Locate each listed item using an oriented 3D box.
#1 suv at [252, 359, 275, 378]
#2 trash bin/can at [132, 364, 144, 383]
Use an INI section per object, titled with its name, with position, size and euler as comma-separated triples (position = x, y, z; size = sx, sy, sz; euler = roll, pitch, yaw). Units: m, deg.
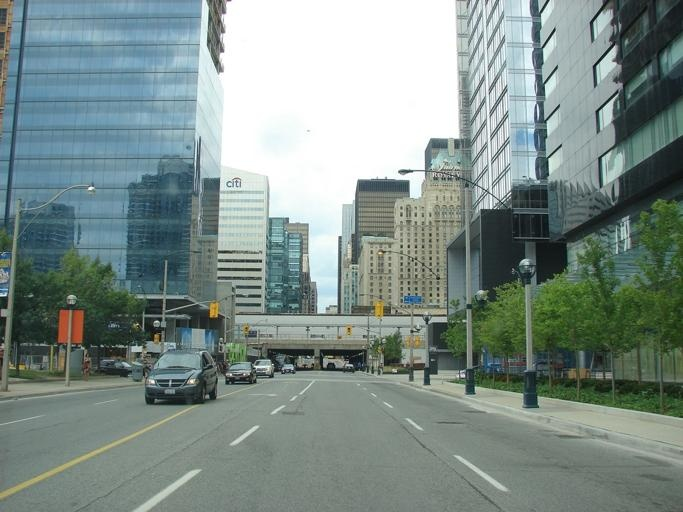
[suv]
position = -7.208, 10.463, 80.325
size = 1.127, 1.230, 2.797
euler = -1, -18, 0
[trash bin/can]
position = -15.907, 9.181, 67.066
size = 1.042, 1.660, 1.063
euler = 0, -9, -10
